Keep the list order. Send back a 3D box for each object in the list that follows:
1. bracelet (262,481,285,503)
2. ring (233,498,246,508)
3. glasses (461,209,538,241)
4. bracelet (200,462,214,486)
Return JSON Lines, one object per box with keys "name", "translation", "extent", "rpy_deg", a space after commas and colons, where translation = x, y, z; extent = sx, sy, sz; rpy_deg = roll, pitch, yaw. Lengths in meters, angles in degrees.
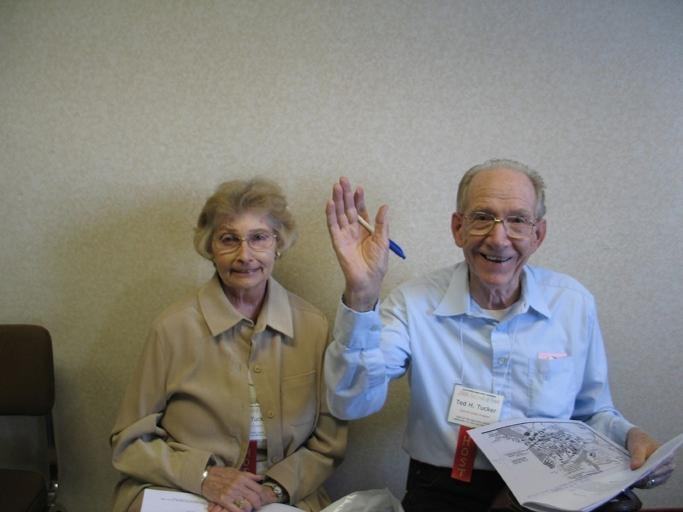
{"name": "bracelet", "translation": [-0.282, 0.968, 2.606], "extent": [0.077, 0.085, 0.079], "rpy_deg": [8, 10, 2]}
{"name": "ring", "translation": [-0.403, 0.981, 2.521], "extent": [0.033, 0.013, 0.026], "rpy_deg": [4, -19, 40]}
{"name": "glasses", "translation": [0.640, -0.129, 2.584], "extent": [0.269, 0.111, 0.065], "rpy_deg": [2, 8, 10]}
{"name": "bracelet", "translation": [-0.549, 0.883, 2.570], "extent": [0.015, 0.065, 0.039], "rpy_deg": [-16, -39, 44]}
